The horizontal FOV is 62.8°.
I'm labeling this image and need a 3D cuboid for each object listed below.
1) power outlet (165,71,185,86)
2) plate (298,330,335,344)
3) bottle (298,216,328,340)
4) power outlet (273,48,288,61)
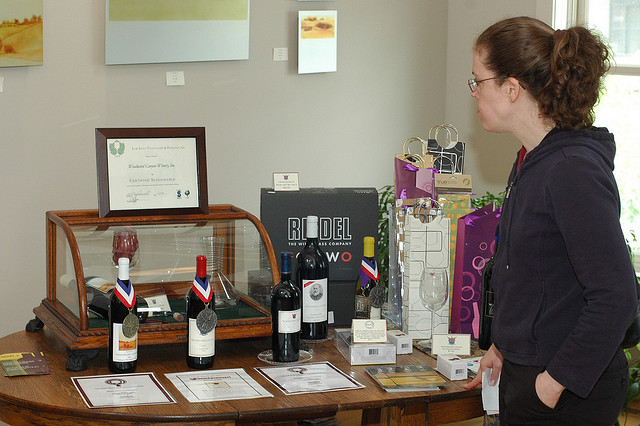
[{"bbox_3d":[-1.122,-1.049,4.063,0.122,0.104,0.017,-1,-4,-15],"label":"power outlet"},{"bbox_3d":[-0.020,0.533,2.259,0.101,0.015,0.102,-1,-1,19],"label":"plate"},{"bbox_3d":[-0.030,0.274,2.262,0.128,0.544,0.188,0,13,0],"label":"bottle"},{"bbox_3d":[-0.326,-1.316,4.324,0.115,0.094,0.013,-2,4,-22],"label":"power outlet"}]
